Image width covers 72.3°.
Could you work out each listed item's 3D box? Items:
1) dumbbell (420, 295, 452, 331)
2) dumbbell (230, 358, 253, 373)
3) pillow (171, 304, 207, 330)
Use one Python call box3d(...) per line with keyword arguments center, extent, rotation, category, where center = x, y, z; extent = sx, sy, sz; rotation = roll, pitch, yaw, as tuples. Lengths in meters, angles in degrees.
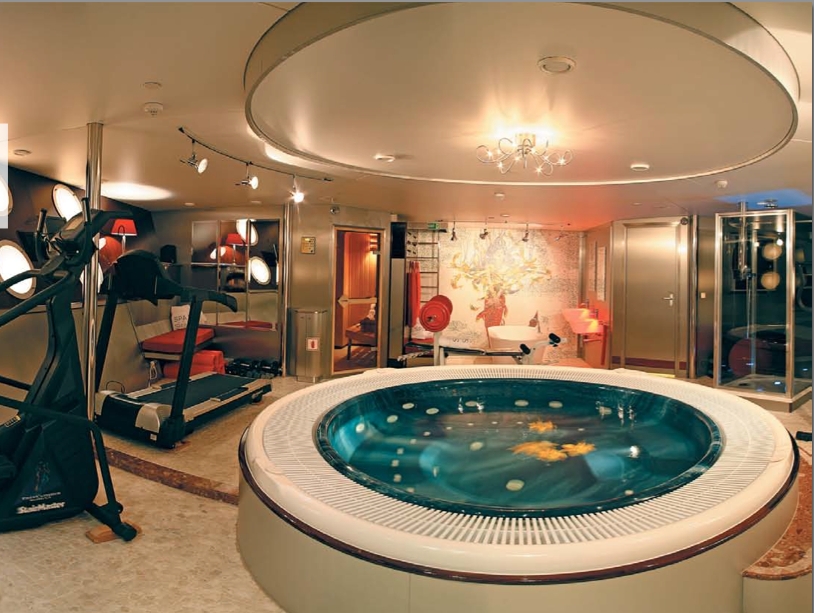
box3d(center=(0.352, 0.144, 6.495), extent=(0.386, 0.464, 0.699), rotation=(-12, 6, 2), category="dumbbell")
box3d(center=(-2.419, 0.880, 8.077), extent=(0.290, 0.057, 0.269), rotation=(13, 17, 41), category="dumbbell")
box3d(center=(-3.196, 0.149, 7.907), extent=(0.585, 0.463, 0.160), rotation=(4, -6, -26), category="pillow")
